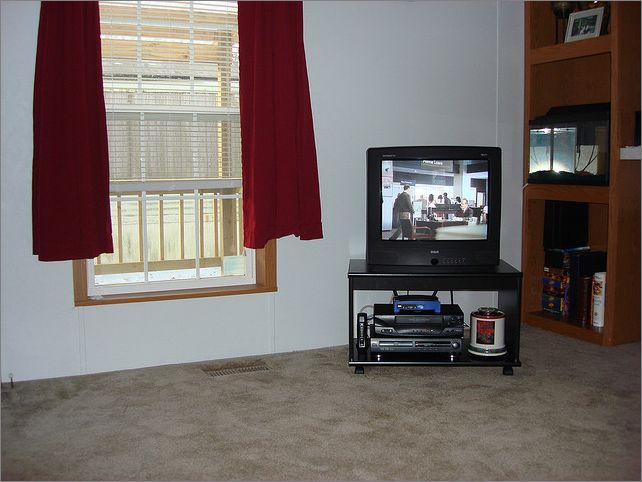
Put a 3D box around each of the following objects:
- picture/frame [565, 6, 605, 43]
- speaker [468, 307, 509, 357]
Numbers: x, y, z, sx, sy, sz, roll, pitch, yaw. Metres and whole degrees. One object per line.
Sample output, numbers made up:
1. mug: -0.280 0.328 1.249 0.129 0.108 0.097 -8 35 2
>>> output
1. picture/frame: 1.816 -1.475 3.884 0.014 0.330 0.313 21 -1 -28
2. speaker: 1.018 0.554 3.506 0.238 0.274 0.256 0 3 3
